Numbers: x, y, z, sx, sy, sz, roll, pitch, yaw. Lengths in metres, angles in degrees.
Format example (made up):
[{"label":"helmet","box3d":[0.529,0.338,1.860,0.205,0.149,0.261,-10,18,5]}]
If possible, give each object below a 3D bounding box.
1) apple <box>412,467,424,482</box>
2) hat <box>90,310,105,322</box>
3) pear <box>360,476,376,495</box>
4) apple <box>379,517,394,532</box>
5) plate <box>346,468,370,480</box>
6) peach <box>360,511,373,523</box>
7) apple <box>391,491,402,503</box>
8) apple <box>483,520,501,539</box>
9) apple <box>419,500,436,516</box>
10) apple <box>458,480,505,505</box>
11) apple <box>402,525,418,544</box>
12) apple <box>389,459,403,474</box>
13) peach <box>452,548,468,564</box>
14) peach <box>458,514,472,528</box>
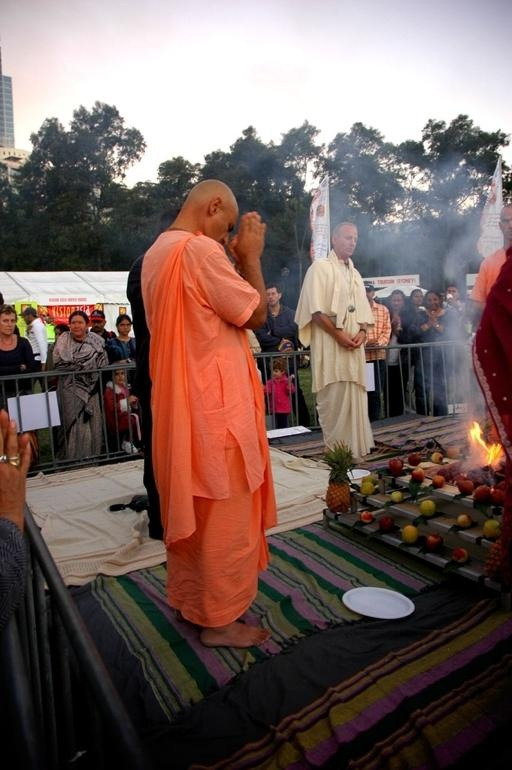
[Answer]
[{"label":"apple","box3d":[1.009,0.558,3.260,0.081,0.076,0.076,-7,-31,-9]},{"label":"hat","box3d":[-2.470,-1.058,8.099,0.201,0.132,0.270,4,2,-19]},{"label":"pear","box3d":[0.767,0.673,3.547,0.095,0.096,0.122,-12,35,19]},{"label":"apple","box3d":[0.832,0.876,3.347,0.092,0.082,0.091,4,12,40]},{"label":"plate","box3d":[0.858,0.738,4.354,0.147,0.056,0.216,-4,11,-9]},{"label":"peach","box3d":[0.736,0.863,3.437,0.079,0.074,0.078,-2,-13,14]},{"label":"apple","box3d":[0.899,0.704,3.294,0.070,0.062,0.068,2,-12,-35]},{"label":"apple","box3d":[1.204,0.726,2.644,0.097,0.111,0.094,-3,-1,24]},{"label":"apple","box3d":[1.015,0.715,3.046,0.095,0.101,0.089,-7,6,26]},{"label":"apple","box3d":[1.259,0.585,2.856,0.099,0.116,0.277,3,-5,-12]},{"label":"apple","box3d":[0.921,0.880,3.079,0.085,0.095,0.081,-10,21,-6]},{"label":"apple","box3d":[0.929,0.543,3.509,0.096,0.112,0.096,-5,-3,11]},{"label":"peach","box3d":[1.095,0.914,2.808,0.080,0.072,0.076,25,-32,-37]},{"label":"peach","box3d":[1.166,0.735,2.879,0.073,0.067,0.074,0,6,32]}]
